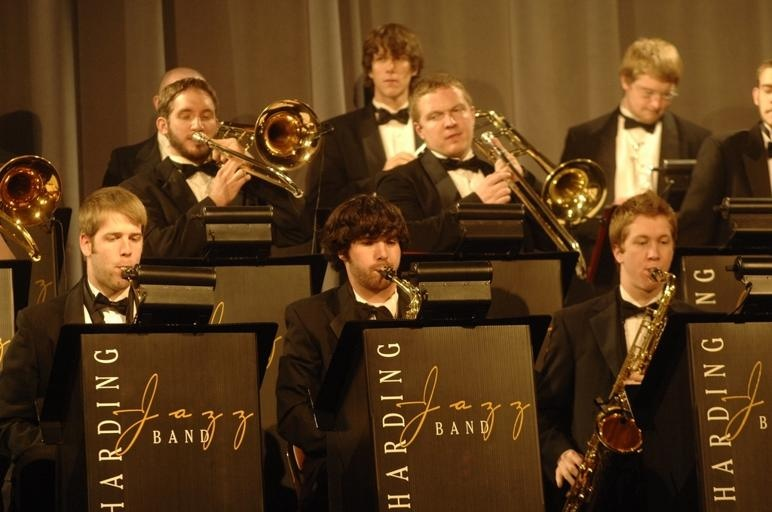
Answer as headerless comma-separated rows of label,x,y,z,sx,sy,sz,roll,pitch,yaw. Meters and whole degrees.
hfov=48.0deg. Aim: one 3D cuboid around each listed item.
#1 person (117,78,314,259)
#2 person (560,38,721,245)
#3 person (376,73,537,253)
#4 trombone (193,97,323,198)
person,-1.021,-0.537,5.033,1.002,1.068,0.571,-1,1,-18
person,1.628,-0.751,5.786,0.844,1.795,0.632,-4,6,-12
person,0.409,-0.551,4.975,0.821,1.049,0.618,-1,1,-31
trombone,-0.896,-0.710,5.526,0.395,0.601,1.161,-25,24,-31
